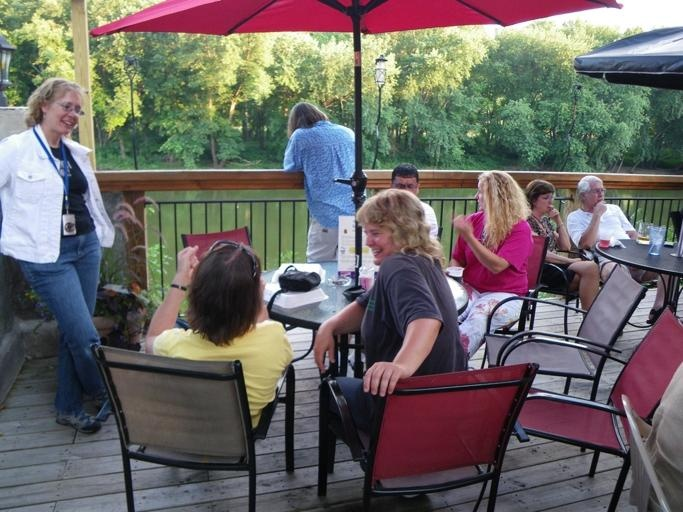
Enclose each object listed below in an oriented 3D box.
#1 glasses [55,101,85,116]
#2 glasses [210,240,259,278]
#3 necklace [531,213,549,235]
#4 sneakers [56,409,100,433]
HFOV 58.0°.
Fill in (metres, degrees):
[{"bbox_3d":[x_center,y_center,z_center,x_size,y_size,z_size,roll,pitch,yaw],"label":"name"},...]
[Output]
[{"bbox_3d":[-1.601,-0.868,3.592,0.068,0.086,0.147,12,17,40],"label":"glasses"},{"bbox_3d":[-0.465,0.029,2.828,0.175,0.192,0.054,7,-1,0],"label":"glasses"},{"bbox_3d":[1.650,-0.266,5.094,0.145,0.209,0.085,9,-29,-5],"label":"necklace"},{"bbox_3d":[-1.617,0.999,3.768,0.263,0.122,0.109,5,10,1],"label":"sneakers"}]
